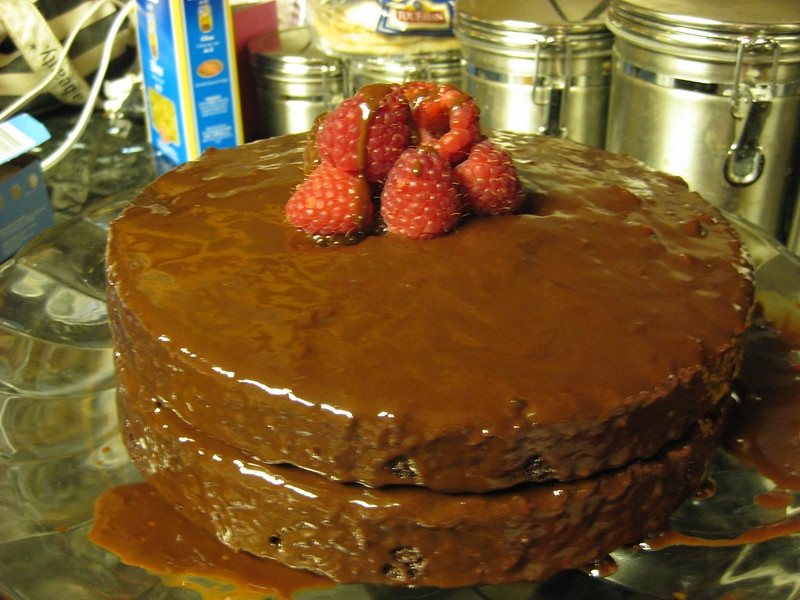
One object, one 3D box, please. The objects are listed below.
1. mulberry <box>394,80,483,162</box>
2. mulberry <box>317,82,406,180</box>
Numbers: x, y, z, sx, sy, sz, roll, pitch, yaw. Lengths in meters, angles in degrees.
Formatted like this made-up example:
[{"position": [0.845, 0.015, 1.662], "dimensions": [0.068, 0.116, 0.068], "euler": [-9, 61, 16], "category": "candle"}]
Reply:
[{"position": [0.072, -0.294, 1.369], "dimensions": [0.152, 0.163, 0.071], "euler": [34, 70, 9], "category": "mulberry"}, {"position": [-0.050, -0.271, 1.267], "dimensions": [0.198, 0.114, 0.172], "euler": [-8, 25, 4], "category": "mulberry"}]
